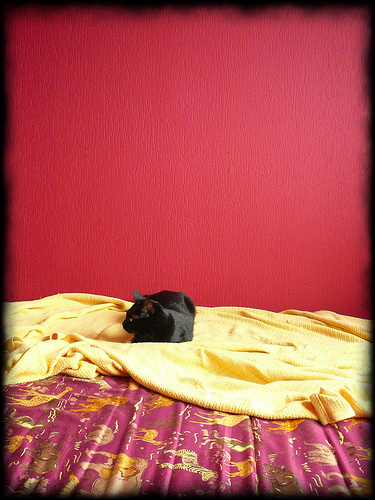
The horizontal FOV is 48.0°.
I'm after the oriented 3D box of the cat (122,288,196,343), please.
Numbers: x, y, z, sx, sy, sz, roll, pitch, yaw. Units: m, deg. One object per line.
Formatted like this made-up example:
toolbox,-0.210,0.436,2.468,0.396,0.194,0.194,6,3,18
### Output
cat,-0.105,0.299,1.994,0.181,0.168,0.340,-3,11,18
